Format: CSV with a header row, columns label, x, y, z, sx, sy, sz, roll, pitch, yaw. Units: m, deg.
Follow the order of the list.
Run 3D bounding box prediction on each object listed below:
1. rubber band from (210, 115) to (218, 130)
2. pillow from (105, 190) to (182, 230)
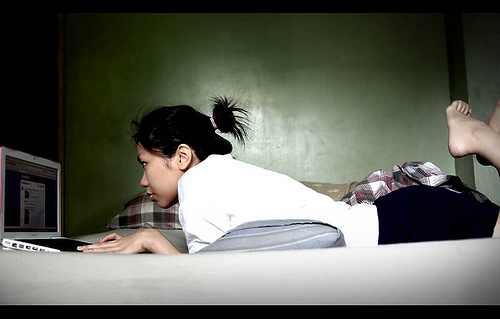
label,x,y,z,sx,sy,sz,roll,pitch,yaw
rubber band,-0.158,-0.162,1.659,0.028,0.075,0.053,1,-6,-4
pillow,-0.705,0.326,2.628,0.566,0.175,0.601,8,4,-23
